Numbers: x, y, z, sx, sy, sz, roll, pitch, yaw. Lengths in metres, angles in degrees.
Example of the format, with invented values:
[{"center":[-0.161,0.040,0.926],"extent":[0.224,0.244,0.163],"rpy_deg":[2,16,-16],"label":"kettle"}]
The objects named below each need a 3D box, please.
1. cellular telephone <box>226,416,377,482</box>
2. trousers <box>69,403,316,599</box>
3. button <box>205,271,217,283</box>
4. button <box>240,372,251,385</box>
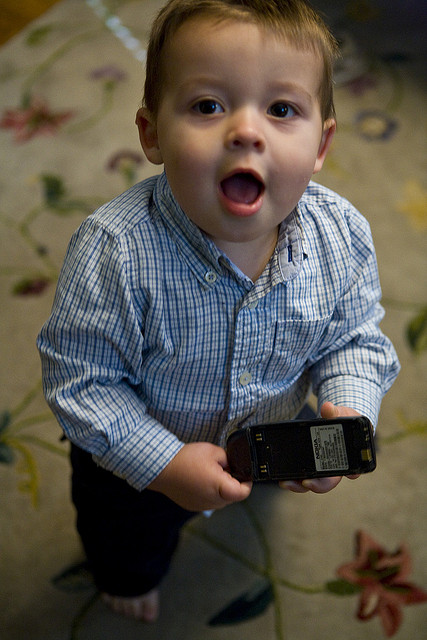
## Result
[{"center":[0.086,0.130,0.581],"extent":[0.147,0.059,0.031],"rpy_deg":[-5,4,12],"label":"cellular telephone"},{"center":[-0.082,0.228,0.730],"extent":[0.179,0.210,0.071],"rpy_deg":[24,0,-24],"label":"trousers"},{"center":[-0.002,-0.044,0.590],"extent":[0.010,0.009,0.008],"rpy_deg":[20,45,21],"label":"button"},{"center":[0.036,0.064,0.650],"extent":[0.015,0.016,0.004],"rpy_deg":[-31,52,-30],"label":"button"}]
